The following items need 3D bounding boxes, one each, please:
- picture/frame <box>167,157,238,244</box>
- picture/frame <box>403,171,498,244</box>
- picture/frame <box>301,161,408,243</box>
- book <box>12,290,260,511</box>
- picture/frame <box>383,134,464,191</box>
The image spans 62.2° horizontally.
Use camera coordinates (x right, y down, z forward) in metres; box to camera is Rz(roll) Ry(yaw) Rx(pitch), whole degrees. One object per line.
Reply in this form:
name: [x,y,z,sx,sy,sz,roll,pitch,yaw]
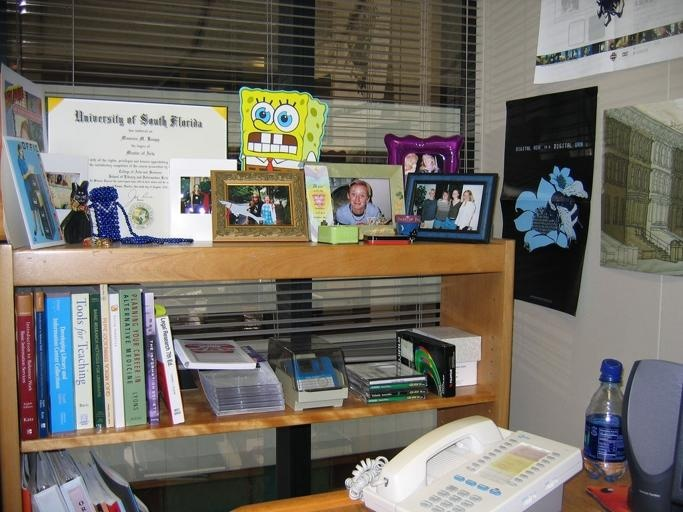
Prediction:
picture/frame: [-0.472,-0.183,1.929,0.272,0.388,0.028,1,-3,-11]
picture/frame: [0.373,-0.164,1.956,0.237,0.203,0.026,-2,-11,31]
picture/frame: [0.033,-0.180,1.981,0.274,0.216,0.020,-1,-5,-10]
book: [-0.663,0.427,1.787,0.835,0.850,0.288,-1,-1,-25]
picture/frame: [0.306,-0.356,2.170,0.241,0.260,0.030,-1,5,-14]
